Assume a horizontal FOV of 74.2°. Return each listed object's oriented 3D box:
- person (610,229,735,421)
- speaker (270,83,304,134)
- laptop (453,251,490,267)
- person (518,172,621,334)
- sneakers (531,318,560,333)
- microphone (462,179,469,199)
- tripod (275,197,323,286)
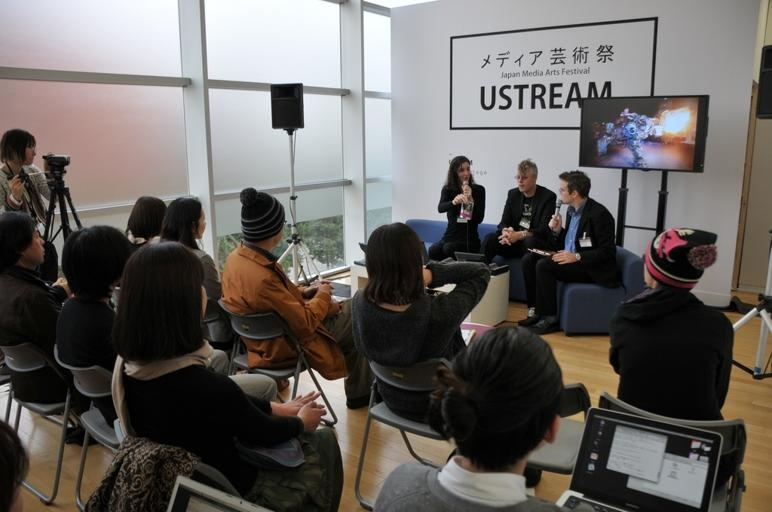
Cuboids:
[{"bbox_3d":[1.350,0.314,2.419,0.498,0.824,0.498,10,18,34],"label":"person"},{"bbox_3d":[-1.182,-1.757,6.101,0.469,0.568,0.151,5,16,19],"label":"speaker"},{"bbox_3d":[0.837,-0.001,5.191,0.286,0.206,0.218,3,24,40],"label":"laptop"},{"bbox_3d":[2.009,-0.062,5.520,0.930,1.615,0.839,-3,9,1],"label":"person"},{"bbox_3d":[1.610,0.726,5.393,0.367,0.172,0.135,1,4,-7],"label":"sneakers"},{"bbox_3d":[0.965,-0.811,6.165,0.085,0.188,0.278,2,15,9],"label":"microphone"},{"bbox_3d":[-1.135,-0.238,6.700,0.851,1.078,0.885,-4,9,-7],"label":"tripod"}]
